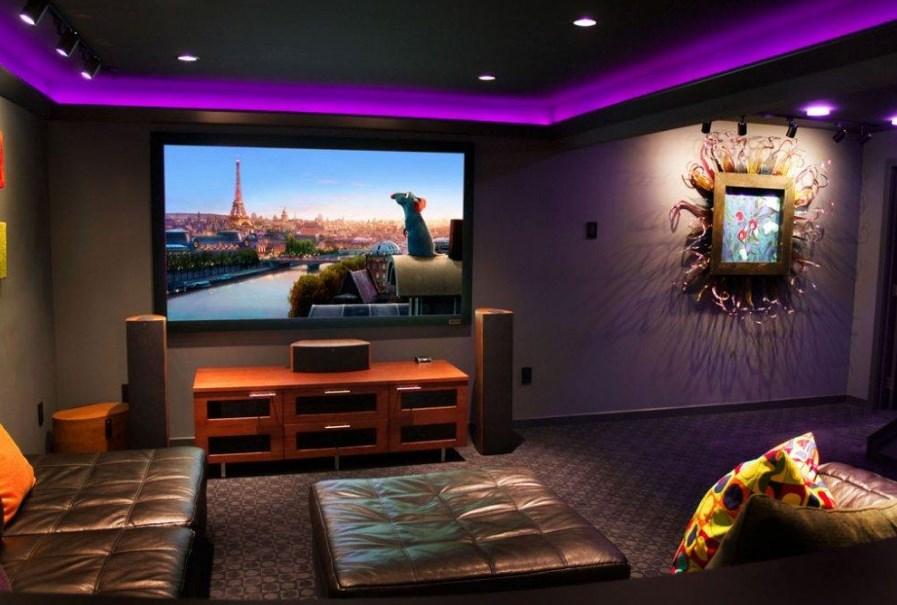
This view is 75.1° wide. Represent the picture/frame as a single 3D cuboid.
[{"bbox_3d":[2.955,-0.796,5.827,1.125,1.150,0.116,0,4,-17],"label":"picture/frame"}]

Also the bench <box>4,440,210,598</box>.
[{"bbox_3d":[-1.630,1.136,2.871,0.836,0.292,1.326,-4,10,-24],"label":"bench"}]

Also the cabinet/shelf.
[{"bbox_3d":[-0.919,0.983,4.862,2.058,0.681,0.676,-1,1,-16],"label":"cabinet/shelf"}]

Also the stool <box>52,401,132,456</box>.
[{"bbox_3d":[-2.694,0.993,4.532,0.400,0.305,0.511,6,5,39],"label":"stool"}]

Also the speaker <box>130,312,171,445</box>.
[{"bbox_3d":[-2.198,0.592,4.350,0.274,0.945,0.229,-3,11,-20],"label":"speaker"}]

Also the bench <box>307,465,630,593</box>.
[{"bbox_3d":[0.020,1.202,2.987,1.339,0.316,1.014,-2,10,-15],"label":"bench"}]

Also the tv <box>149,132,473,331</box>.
[{"bbox_3d":[-1.122,-0.595,5.027,2.559,1.584,0.284,-1,10,-9],"label":"tv"}]

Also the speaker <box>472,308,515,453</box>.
[{"bbox_3d":[0.392,0.672,4.915,0.288,1.188,0.226,-1,10,-6],"label":"speaker"}]
